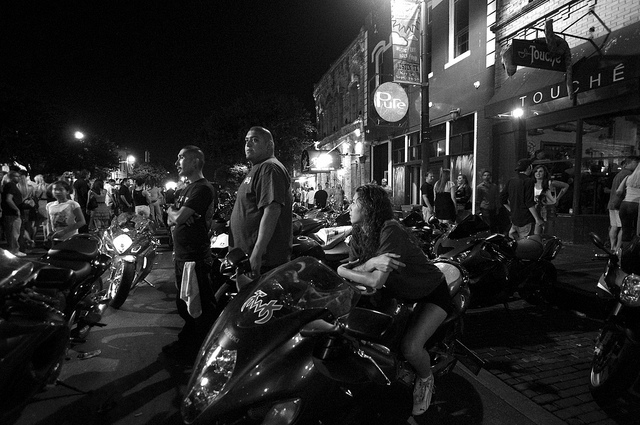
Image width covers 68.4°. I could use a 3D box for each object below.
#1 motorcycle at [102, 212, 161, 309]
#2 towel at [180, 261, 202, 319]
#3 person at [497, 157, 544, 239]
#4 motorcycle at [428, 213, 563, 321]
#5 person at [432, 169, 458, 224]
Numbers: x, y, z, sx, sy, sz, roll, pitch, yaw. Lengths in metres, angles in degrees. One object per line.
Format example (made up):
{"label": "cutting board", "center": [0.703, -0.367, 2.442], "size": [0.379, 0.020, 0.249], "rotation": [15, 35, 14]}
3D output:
{"label": "motorcycle", "center": [-3.300, 0.816, 8.221], "size": [0.828, 1.274, 1.572], "rotation": [-5, 15, -21]}
{"label": "towel", "center": [-1.861, 1.127, 6.797], "size": [0.237, 0.792, 0.208], "rotation": [-7, -33, -1]}
{"label": "person", "center": [4.644, -0.199, 10.523], "size": [0.681, 1.879, 1.221], "rotation": [-3, 14, -11]}
{"label": "motorcycle", "center": [3.206, 0.965, 8.513], "size": [2.741, 1.833, 1.373], "rotation": [0, 2, -18]}
{"label": "person", "center": [3.577, -0.429, 13.330], "size": [0.602, 1.960, 0.605], "rotation": [10, 45, 22]}
